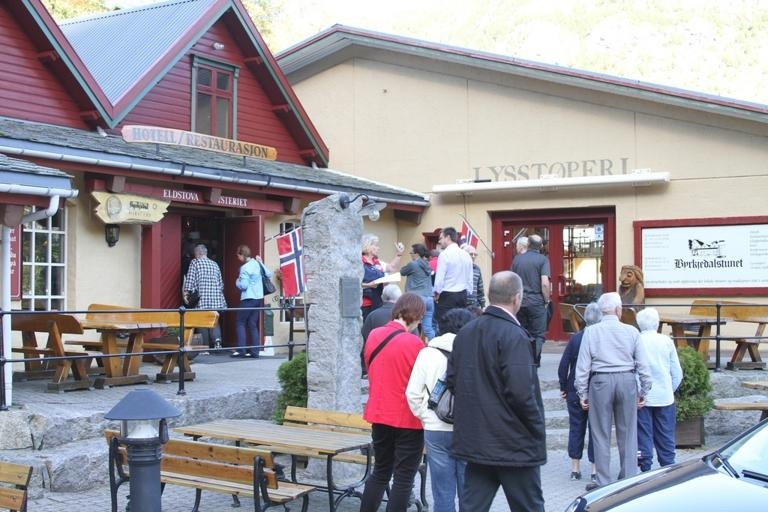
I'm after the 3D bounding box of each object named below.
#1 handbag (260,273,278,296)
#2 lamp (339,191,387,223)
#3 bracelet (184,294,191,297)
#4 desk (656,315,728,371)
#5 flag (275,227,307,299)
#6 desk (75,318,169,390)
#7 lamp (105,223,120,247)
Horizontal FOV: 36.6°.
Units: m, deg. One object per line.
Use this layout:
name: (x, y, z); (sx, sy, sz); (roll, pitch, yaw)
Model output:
handbag: (-2.498, 0.569, 24.822); (0.193, 0.488, 0.377); (-11, -12, -6)
lamp: (-0.408, -0.821, 18.815); (0.633, 0.349, 0.469); (3, -1, 36)
bracelet: (-4.066, 0.758, 24.012); (0.123, 0.111, 0.034); (2, -5, -14)
desk: (6.107, 1.666, 22.963); (0.977, 0.895, 1.899); (1, -3, 12)
flag: (-1.821, 0.069, 22.636); (0.529, 1.401, 0.559); (1, -5, -5)
desk: (-4.741, 1.711, 20.832); (1.171, 1.041, 1.429); (-1, -3, 37)
lamp: (-5.518, -0.442, 23.481); (0.317, 0.461, 0.205); (3, -6, -27)
